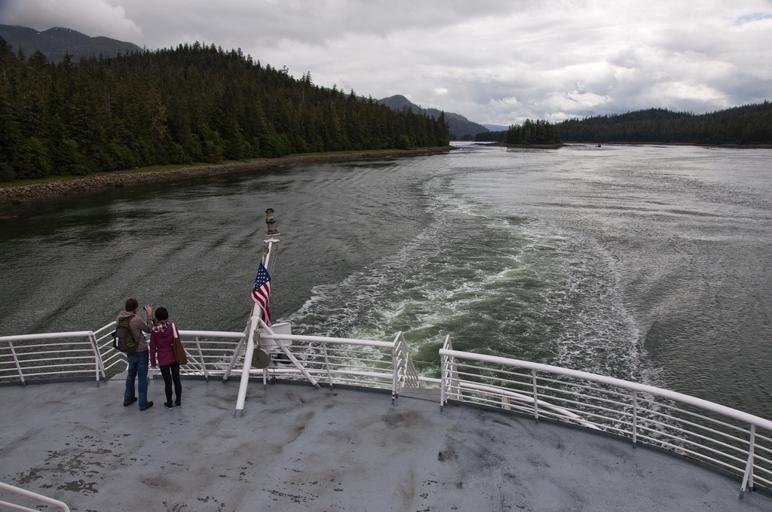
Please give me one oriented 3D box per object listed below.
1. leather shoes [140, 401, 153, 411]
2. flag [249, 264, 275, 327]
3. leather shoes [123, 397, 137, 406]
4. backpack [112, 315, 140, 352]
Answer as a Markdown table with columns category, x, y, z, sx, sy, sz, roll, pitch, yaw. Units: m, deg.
| category | x | y | z | sx | sy | sz | roll | pitch | yaw |
| --- | --- | --- | --- | --- | --- | --- | --- | --- | --- |
| leather shoes | -6.886 | 4.296 | 14.874 | 0.145 | 0.226 | 0.363 | 29 | 32 | 23 |
| flag | -3.875 | 1.145 | 16.147 | 0.565 | 1.993 | 1.985 | -6 | 20 | -14 |
| leather shoes | -7.431 | 4.250 | 15.067 | 0.137 | 0.117 | 0.319 | 17 | 25 | 36 |
| backpack | -7.363 | 2.258 | 14.570 | 0.596 | 1.063 | 0.428 | -10 | 23 | -25 |
